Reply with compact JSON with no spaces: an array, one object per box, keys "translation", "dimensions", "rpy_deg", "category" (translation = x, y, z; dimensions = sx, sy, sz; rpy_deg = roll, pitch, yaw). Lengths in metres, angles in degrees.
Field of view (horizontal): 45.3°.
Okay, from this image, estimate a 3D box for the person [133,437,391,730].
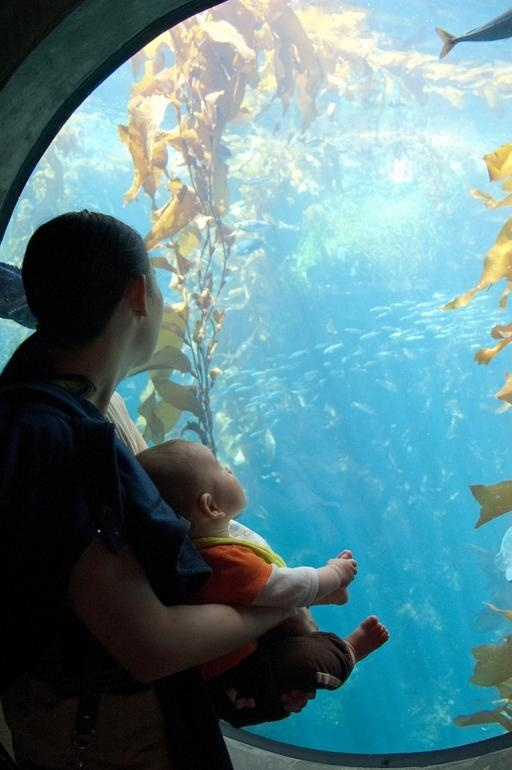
[{"translation":[0.016,0.475,1.647],"dimensions":[0.480,0.685,0.470],"rpy_deg":[-9,-1,-43],"category":"person"}]
